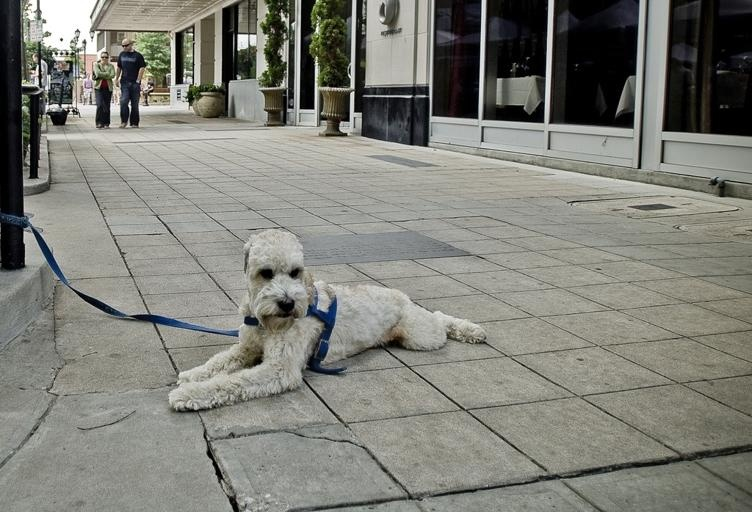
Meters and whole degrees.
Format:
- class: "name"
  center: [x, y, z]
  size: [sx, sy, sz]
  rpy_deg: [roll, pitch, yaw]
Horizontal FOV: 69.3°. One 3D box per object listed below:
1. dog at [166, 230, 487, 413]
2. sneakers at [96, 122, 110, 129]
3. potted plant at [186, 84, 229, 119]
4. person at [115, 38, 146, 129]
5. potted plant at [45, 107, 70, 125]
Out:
- class: "dog"
  center: [-0.227, 0.246, 3.319]
  size: [2.007, 0.831, 0.741]
  rpy_deg: [-7, 10, -39]
- class: "sneakers"
  center: [-10.137, -4.884, 20.444]
  size: [0.204, 0.257, 0.611]
  rpy_deg: [2, 4, 10]
- class: "potted plant"
  center: [-8.864, -8.247, 28.936]
  size: [1.322, 1.747, 2.440]
  rpy_deg: [-6, 14, -28]
- class: "person"
  center: [-9.187, -6.483, 20.367]
  size: [1.295, 3.235, 1.002]
  rpy_deg: [5, 9, 7]
- class: "potted plant"
  center: [-12.740, -5.665, 22.001]
  size: [0.907, 0.831, 0.916]
  rpy_deg: [11, 13, 33]
